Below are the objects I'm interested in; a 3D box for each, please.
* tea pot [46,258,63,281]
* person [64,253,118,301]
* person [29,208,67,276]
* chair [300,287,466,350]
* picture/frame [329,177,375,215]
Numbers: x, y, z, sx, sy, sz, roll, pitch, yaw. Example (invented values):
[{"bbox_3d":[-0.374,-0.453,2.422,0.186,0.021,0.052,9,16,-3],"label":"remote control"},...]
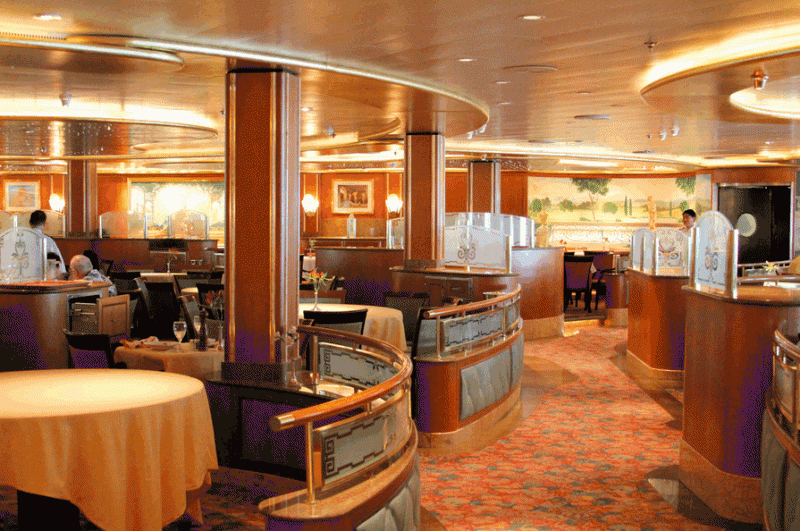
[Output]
[{"bbox_3d":[-4.424,0.044,7.785,0.167,0.289,0.437,-1,6,-25],"label":"tea pot"},{"bbox_3d":[-3.945,0.106,7.778,0.486,0.458,0.872,-1,6,-27],"label":"person"},{"bbox_3d":[-4.745,-0.298,8.210,0.392,0.882,1.512,-2,6,-30],"label":"person"},{"bbox_3d":[-0.447,0.701,7.127,1.114,0.595,1.136,-3,7,-41],"label":"chair"},{"bbox_3d":[-1.441,-2.191,18.733,1.340,0.894,0.045,1,-3,-1],"label":"picture/frame"}]
